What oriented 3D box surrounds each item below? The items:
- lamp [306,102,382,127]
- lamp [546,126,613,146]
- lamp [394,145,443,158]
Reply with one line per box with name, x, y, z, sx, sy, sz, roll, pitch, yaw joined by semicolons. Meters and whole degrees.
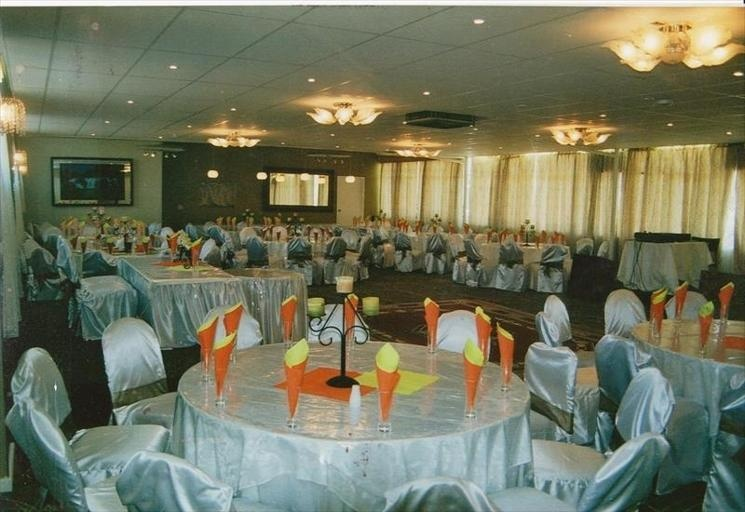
lamp;-0.430;-2.172;8.989;0.604;0.152;0.605;1;1;35
lamp;3.673;-2.094;10.316;0.637;0.188;0.624;-1;-4;22
lamp;1.188;-2.572;14.467;0.836;0.202;0.814;2;3;16
